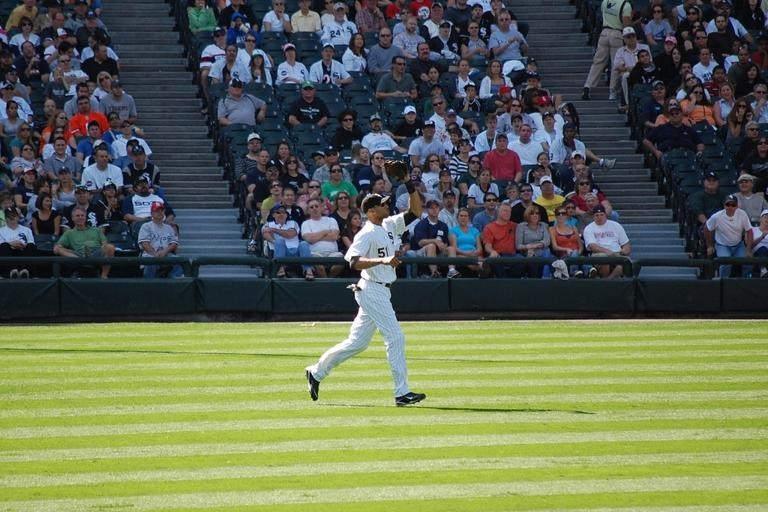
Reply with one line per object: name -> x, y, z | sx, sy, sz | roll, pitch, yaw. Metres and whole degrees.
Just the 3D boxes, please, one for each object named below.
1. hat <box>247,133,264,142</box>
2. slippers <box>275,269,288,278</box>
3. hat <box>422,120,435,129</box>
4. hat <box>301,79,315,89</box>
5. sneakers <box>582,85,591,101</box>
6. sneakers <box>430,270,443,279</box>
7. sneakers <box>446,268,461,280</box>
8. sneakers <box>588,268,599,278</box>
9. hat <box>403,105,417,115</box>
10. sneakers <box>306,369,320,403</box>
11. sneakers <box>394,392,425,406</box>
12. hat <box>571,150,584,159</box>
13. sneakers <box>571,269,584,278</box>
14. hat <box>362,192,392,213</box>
hat -> -2.400, -2.314, 37.790 | 0.245, 0.136, 0.343 | -1, 4, -12
slippers -> -1.784, 0.274, 36.019 | 0.232, 0.185, 0.130 | -8, 12, -27
hat -> 0.931, -2.620, 38.534 | 0.293, 0.132, 0.435 | 4, 0, -3
hat -> -1.501, -3.437, 38.868 | 0.266, 0.173, 0.394 | 1, -1, -2
sneakers -> 4.302, -3.489, 41.628 | 0.139, 0.302, 0.134 | 2, 29, 9
sneakers -> 1.022, 0.306, 36.326 | 0.228, 0.133, 0.229 | -3, 10, -3
sneakers -> 1.328, 0.274, 36.208 | 0.242, 0.195, 0.284 | -2, 10, 3
sneakers -> 3.910, 0.310, 36.412 | 0.101, 0.110, 0.267 | 2, -30, 0
hat -> 0.576, -2.950, 39.311 | 0.242, 0.120, 0.349 | -1, 5, -7
sneakers -> -1.054, 2.050, 31.169 | 0.284, 0.490, 0.178 | -11, 6, -2
sneakers -> 0.449, 2.243, 30.995 | 0.520, 0.190, 0.187 | -8, 0, 7
hat -> 3.810, -2.009, 38.428 | 0.242, 0.138, 0.241 | -2, 10, 2
sneakers -> 3.619, 0.309, 36.457 | 0.235, 0.133, 0.149 | -2, 10, 4
hat -> -0.051, -0.876, 31.281 | 0.496, 0.170, 0.306 | -9, 2, -3
